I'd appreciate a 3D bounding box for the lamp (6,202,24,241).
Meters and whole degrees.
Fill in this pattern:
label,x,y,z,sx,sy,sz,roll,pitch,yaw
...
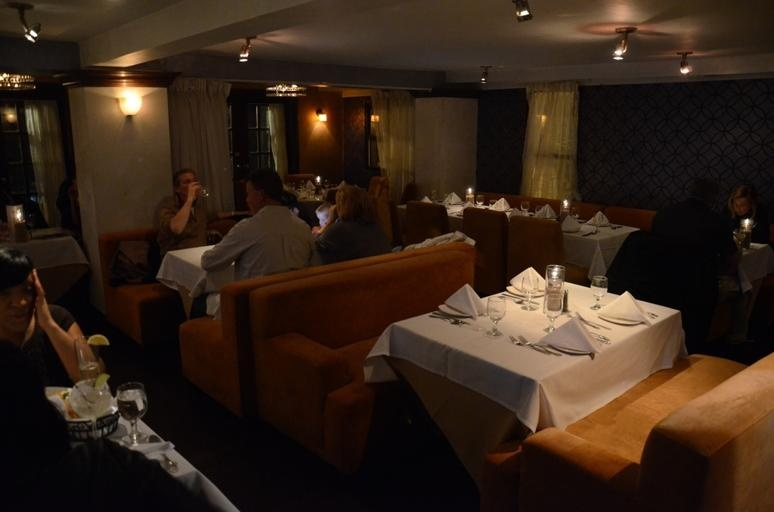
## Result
label,x,y,z,sx,sy,sz,roll,pitch,yaw
lamp,-3.909,-0.347,5.803,0.158,0.365,0.183,-9,14,-35

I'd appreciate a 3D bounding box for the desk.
label,x,y,z,sx,sy,sz,roll,pitch,yaw
desk,-3.636,0.064,6.271,1.113,0.651,1.126,13,15,42

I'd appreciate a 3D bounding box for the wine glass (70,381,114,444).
label,x,y,z,sx,sy,sz,roll,pitch,yaw
wine glass,-1.463,0.753,2.725,0.093,0.298,0.241,-8,-12,40

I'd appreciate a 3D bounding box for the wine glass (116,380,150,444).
label,x,y,z,sx,sy,sz,roll,pitch,yaw
wine glass,-1.321,0.790,2.841,0.130,0.268,0.248,-8,13,-32

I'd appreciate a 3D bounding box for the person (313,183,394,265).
label,x,y,z,sx,sy,sz,roll,pitch,yaw
person,-0.319,-0.342,5.223,0.592,0.830,0.733,-9,16,-32

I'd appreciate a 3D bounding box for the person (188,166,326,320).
label,x,y,z,sx,sy,sz,roll,pitch,yaw
person,-1.112,0.099,4.994,0.868,1.681,0.865,8,10,21

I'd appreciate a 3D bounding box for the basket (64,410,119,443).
label,x,y,z,sx,sy,sz,roll,pitch,yaw
basket,-1.460,0.832,2.738,0.193,0.068,0.176,-2,9,-27

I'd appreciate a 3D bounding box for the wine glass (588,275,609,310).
label,x,y,z,sx,sy,sz,roll,pitch,yaw
wine glass,1.546,0.266,3.998,0.123,0.237,0.125,3,10,12

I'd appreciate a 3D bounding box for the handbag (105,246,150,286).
label,x,y,z,sx,sy,sz,roll,pitch,yaw
handbag,-2.740,0.136,5.807,0.384,0.404,0.131,-3,-7,-11

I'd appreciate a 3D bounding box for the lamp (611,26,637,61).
label,x,y,z,sx,sy,sz,roll,pitch,yaw
lamp,2.353,-2.086,5.475,0.222,0.289,0.226,17,23,26
